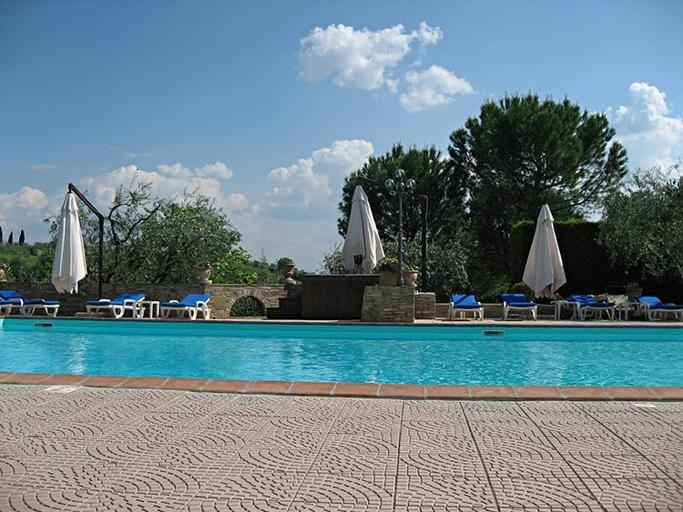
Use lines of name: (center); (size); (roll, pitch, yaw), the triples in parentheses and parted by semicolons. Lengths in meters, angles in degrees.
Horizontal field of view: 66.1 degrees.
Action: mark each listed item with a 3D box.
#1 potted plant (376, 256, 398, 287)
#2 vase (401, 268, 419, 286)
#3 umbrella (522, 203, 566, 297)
potted plant: (1.242, 0.411, 14.352); (0.710, 0.787, 0.605); (1, -5, -4)
vase: (1.925, 0.613, 14.707); (0.440, 0.359, 0.432); (7, -10, -41)
umbrella: (6.142, -0.169, 15.917); (1.120, 2.862, 0.932); (0, -1, 20)
